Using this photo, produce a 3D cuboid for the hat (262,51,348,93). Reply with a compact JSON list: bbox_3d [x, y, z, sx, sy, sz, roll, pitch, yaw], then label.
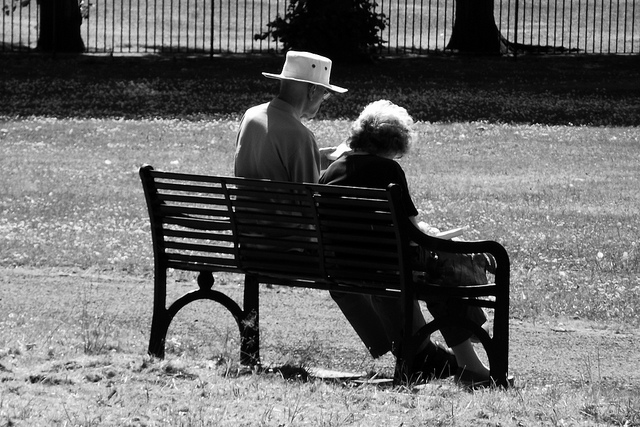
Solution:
[{"bbox_3d":[-0.249,-2.279,20.969,1.000,0.438,0.975,22,20,24],"label":"hat"}]
